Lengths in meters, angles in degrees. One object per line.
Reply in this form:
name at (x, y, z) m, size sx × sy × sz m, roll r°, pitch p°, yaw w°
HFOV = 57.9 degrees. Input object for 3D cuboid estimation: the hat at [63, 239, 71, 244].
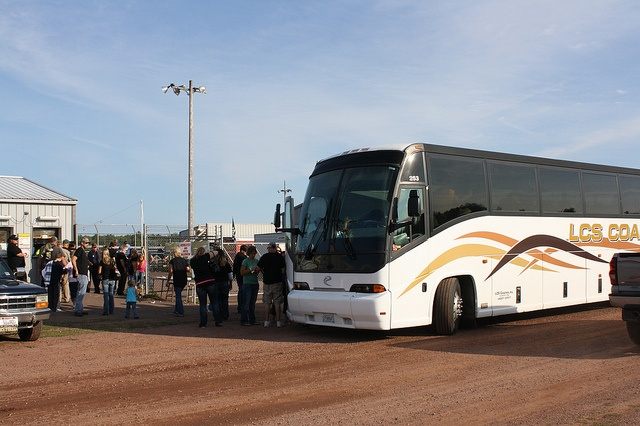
hat at (-9.932, 1.126, 22.479) m, size 0.339 × 0.164 × 0.470 m, roll 1°, pitch -4°, yaw -24°

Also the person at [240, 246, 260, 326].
person at (-2.166, 2.204, 17.603) m, size 0.556 × 2.235 × 0.667 m, roll -1°, pitch 0°, yaw -8°

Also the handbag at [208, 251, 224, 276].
handbag at (-3.257, 1.528, 18.036) m, size 0.498 × 0.937 × 0.654 m, roll 0°, pitch -10°, yaw 9°

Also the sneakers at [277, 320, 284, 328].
sneakers at (-1.202, 3.279, 17.081) m, size 0.159 × 0.165 × 0.396 m, roll -1°, pitch -8°, yaw 6°

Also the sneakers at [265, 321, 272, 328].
sneakers at (-1.574, 3.293, 17.092) m, size 0.138 × 0.168 × 0.404 m, roll 0°, pitch -10°, yaw -2°

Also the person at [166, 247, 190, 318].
person at (-4.783, 2.298, 19.346) m, size 0.649 × 2.091 × 0.698 m, roll -1°, pitch 0°, yaw -16°
